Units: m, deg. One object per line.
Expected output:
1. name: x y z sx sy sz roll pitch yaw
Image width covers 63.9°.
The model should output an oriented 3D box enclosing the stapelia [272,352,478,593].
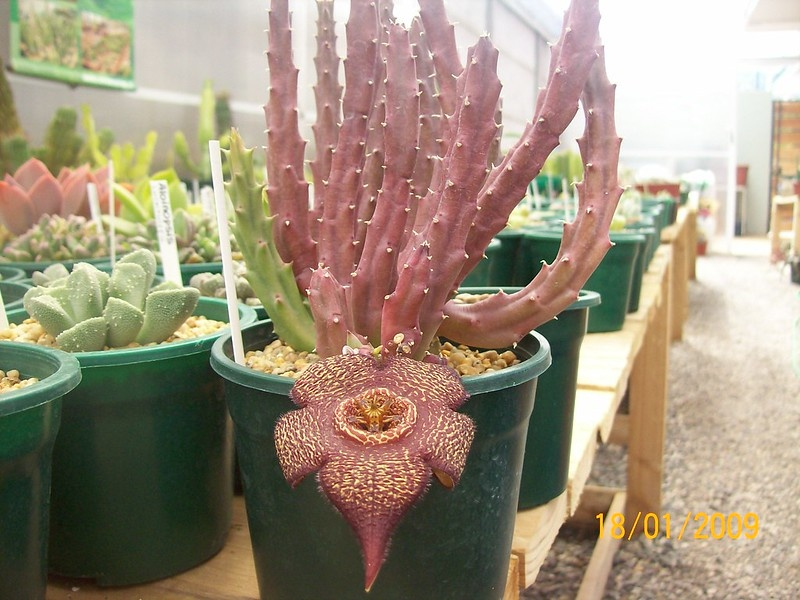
1. stapelia: -0.015 0.097 0.405 0.130 0.061 0.181 -1 35 0

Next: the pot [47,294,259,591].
1. pot: -0.234 0.148 0.713 0.211 0.185 0.237 1 3 5

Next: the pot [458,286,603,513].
1. pot: 0.180 0.108 0.812 0.204 0.226 0.195 0 17 0

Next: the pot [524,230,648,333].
1. pot: 0.362 -0.077 1.321 0.231 0.193 0.239 0 9 0
